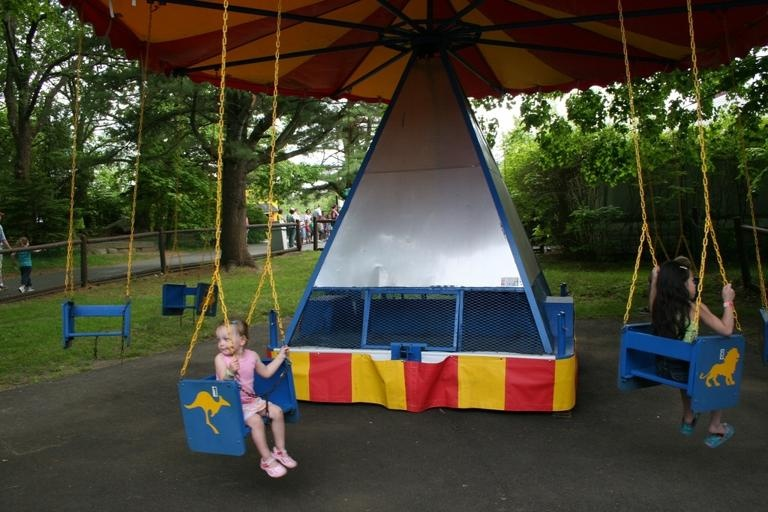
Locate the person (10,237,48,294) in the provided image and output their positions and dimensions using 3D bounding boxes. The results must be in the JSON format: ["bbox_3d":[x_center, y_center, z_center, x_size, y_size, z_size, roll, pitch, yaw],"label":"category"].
[{"bbox_3d":[-9.161,0.162,15.642,0.476,1.330,2.157,-9,16,-29],"label":"person"}]

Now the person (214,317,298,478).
[{"bbox_3d":[-1.311,1.454,6.369,0.684,1.638,0.864,-14,19,-43],"label":"person"}]

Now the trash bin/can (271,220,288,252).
[{"bbox_3d":[-4.137,-0.804,24.156,0.607,1.107,1.429,-4,14,-9],"label":"trash bin/can"}]

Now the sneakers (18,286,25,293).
[{"bbox_3d":[-8.869,0.799,14.980,0.104,0.136,0.465,-11,17,-36],"label":"sneakers"}]

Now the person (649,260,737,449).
[{"bbox_3d":[3.457,1.094,6.963,0.833,2.015,1.497,-1,14,3],"label":"person"}]
